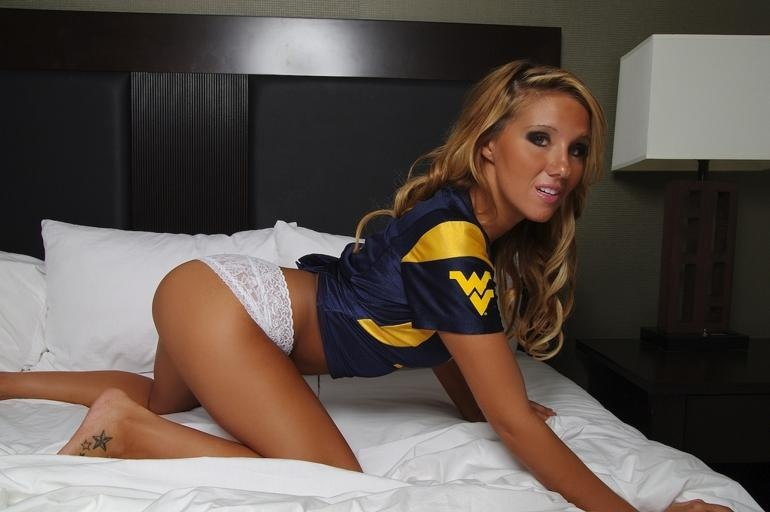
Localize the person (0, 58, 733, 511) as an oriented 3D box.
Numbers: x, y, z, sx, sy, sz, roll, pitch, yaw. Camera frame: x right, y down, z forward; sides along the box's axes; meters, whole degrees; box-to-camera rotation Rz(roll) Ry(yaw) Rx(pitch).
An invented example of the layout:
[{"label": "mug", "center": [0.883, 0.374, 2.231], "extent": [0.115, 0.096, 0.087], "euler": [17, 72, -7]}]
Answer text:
[{"label": "person", "center": [-0.021, 0.044, 2.126], "extent": [2.013, 1.412, 0.628], "euler": [0, 4, 3]}]

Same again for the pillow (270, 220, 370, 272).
[{"label": "pillow", "center": [-0.350, -0.058, 2.747], "extent": [0.280, 0.215, 0.087], "euler": [-2, -28, -5]}]
